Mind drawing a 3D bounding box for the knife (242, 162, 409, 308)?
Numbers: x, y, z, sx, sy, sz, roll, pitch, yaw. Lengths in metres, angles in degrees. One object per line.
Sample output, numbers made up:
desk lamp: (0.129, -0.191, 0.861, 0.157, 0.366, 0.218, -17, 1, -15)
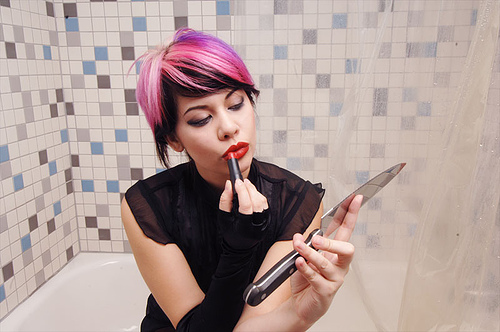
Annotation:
knife: (0.205, 0.189, 1.115, 0.591, 0.086, 0.076, -36, 27, -14)
